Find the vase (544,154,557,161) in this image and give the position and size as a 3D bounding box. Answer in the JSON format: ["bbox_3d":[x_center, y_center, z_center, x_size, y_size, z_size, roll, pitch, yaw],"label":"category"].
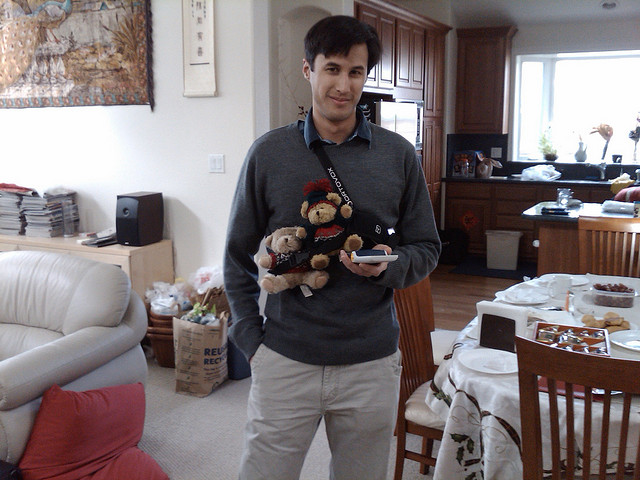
[{"bbox_3d":[2.988,-1.074,6.306,0.137,0.084,0.037,6,15,21],"label":"vase"}]

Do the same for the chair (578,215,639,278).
[{"bbox_3d":[1.669,0.037,2.817,0.252,0.431,0.261,8,19,26],"label":"chair"}]

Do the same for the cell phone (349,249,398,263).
[{"bbox_3d":[0.142,0.044,1.282,0.120,0.036,0.075,0,13,-4],"label":"cell phone"}]

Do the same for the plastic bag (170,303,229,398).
[{"bbox_3d":[-0.783,0.722,3.245,0.527,0.564,0.525,1,0,-16],"label":"plastic bag"}]

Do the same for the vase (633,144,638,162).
[{"bbox_3d":[3.942,-1.089,6.068,0.056,0.216,0.071,8,16,28],"label":"vase"}]

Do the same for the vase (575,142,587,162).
[{"bbox_3d":[3.333,-1.126,6.211,0.125,0.245,0.061,6,15,21],"label":"vase"}]

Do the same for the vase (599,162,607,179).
[{"bbox_3d":[3.465,-0.857,5.966,0.083,0.196,0.290,8,16,30],"label":"vase"}]

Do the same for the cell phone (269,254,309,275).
[{"bbox_3d":[-0.086,0.070,1.379,0.091,0.021,0.052,-31,-3,-4],"label":"cell phone"}]

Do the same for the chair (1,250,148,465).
[{"bbox_3d":[-1.333,0.447,2.488,0.999,0.682,0.779,3,4,37],"label":"chair"}]

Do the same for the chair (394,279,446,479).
[{"bbox_3d":[0.441,0.647,2.239,0.228,0.850,0.492,3,14,9],"label":"chair"}]

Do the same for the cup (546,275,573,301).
[{"bbox_3d":[1.096,0.223,2.274,0.137,0.114,0.082,-6,12,-25],"label":"cup"}]

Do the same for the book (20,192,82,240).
[{"bbox_3d":[-2.213,-0.200,3.923,0.248,0.151,0.327,12,22,-2],"label":"book"}]

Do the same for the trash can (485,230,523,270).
[{"bbox_3d":[2.266,0.095,6.070,0.443,0.450,0.304,1,13,18],"label":"trash can"}]

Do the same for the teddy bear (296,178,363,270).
[{"bbox_3d":[0.019,-0.053,1.387,0.164,0.249,0.112,-20,-6,19],"label":"teddy bear"}]

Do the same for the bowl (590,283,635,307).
[{"bbox_3d":[1.276,0.231,2.117,0.136,0.050,0.108,2,12,13],"label":"bowl"}]

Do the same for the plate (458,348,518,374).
[{"bbox_3d":[0.580,0.411,1.693,0.189,0.034,0.202,5,14,17],"label":"plate"}]

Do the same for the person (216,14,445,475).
[{"bbox_3d":[0.063,0.023,1.451,0.682,1.322,0.426,-3,14,-14],"label":"person"}]
